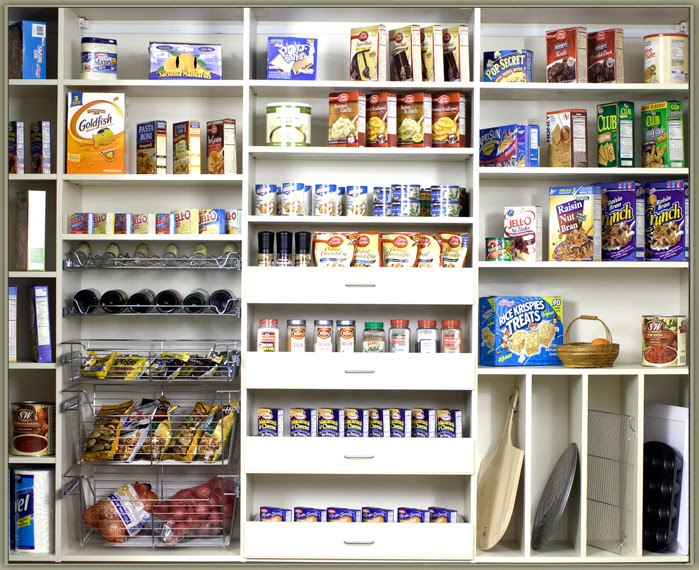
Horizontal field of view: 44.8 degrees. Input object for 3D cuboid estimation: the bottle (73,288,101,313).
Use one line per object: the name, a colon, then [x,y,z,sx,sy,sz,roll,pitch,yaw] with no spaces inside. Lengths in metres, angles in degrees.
bottle: [-1.079,0.073,3.464,0.110,0.088,0.112,-2,9,0]

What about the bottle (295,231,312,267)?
bottle: [-0.188,-0.148,3.507,0.067,0.137,0.110,-1,9,7]

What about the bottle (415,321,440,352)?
bottle: [0.316,0.212,3.459,0.089,0.143,0.138,-1,9,6]

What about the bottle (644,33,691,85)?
bottle: [1.296,-0.928,3.581,0.200,0.219,0.202,0,0,3]

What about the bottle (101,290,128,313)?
bottle: [-0.960,0.071,3.516,0.096,0.097,0.093,-11,1,4]

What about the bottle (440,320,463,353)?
bottle: [0.415,0.207,3.482,0.086,0.138,0.170,-1,9,8]

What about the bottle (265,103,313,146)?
bottle: [-0.242,-0.644,3.429,0.174,0.148,0.168,0,4,-8]

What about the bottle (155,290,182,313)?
bottle: [-0.745,0.069,3.493,0.113,0.082,0.099,-4,9,-13]

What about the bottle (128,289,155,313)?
bottle: [-0.859,0.069,3.505,0.107,0.077,0.130,-4,9,-15]

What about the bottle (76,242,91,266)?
bottle: [-1.085,-0.123,3.492,0.061,0.101,0.023,9,-28,-33]

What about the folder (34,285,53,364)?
folder: [-1.251,0.158,3.461,0.067,0.306,0.157,-5,9,-20]

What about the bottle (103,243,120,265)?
bottle: [-0.977,-0.122,3.502,0.060,0.083,0.133,-4,9,-16]

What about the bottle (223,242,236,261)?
bottle: [-0.493,-0.135,3.493,0.064,0.061,0.101,-3,9,-8]

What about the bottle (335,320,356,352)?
bottle: [-0.016,0.214,3.423,0.109,0.190,0.109,0,-3,0]

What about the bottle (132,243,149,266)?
bottle: [-0.863,-0.120,3.506,0.049,0.050,0.078,31,23,-25]

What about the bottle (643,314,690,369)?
bottle: [1.267,0.241,3.432,0.188,0.210,0.190,0,-2,2]

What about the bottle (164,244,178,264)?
bottle: [-0.738,-0.123,3.503,0.055,0.082,0.104,-4,9,-10]

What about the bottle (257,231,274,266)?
bottle: [-0.339,-0.144,3.454,0.071,0.138,0.044,-3,9,-6]

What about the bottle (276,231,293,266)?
bottle: [-0.260,-0.146,3.480,0.048,0.137,0.094,4,11,36]

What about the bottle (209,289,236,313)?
bottle: [-0.524,0.073,3.483,0.095,0.096,0.093,-5,2,4]

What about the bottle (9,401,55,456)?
bottle: [-1.267,0.600,3.510,0.192,0.209,0.193,0,-3,-2]

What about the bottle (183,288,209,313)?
bottle: [-0.631,0.070,3.503,0.093,0.091,0.138,17,3,-5]
